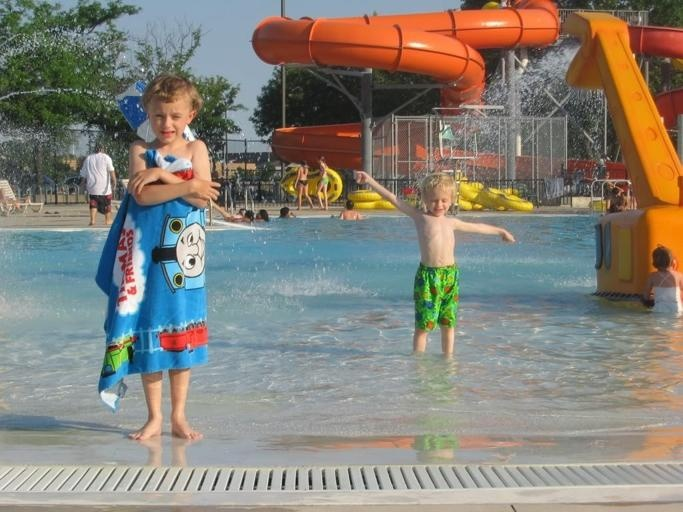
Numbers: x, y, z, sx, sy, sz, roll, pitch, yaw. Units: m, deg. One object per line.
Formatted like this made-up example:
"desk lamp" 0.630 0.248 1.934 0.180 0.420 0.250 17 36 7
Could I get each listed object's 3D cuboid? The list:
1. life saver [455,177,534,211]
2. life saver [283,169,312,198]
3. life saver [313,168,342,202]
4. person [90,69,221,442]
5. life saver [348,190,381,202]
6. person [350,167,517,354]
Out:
"life saver" 3.724 -1.345 22.497 1.738 0.553 0.956 13 1 14
"life saver" -1.426 -2.198 28.350 0.788 1.009 0.500 2 -13 -2
"life saver" -0.013 -2.045 27.609 1.018 0.976 0.358 4 7 32
"person" -1.073 0.000 5.577 0.732 2.104 0.398 -1 4 -11
"life saver" 0.691 -1.541 24.896 0.807 0.226 0.810 1 1 20
"person" 0.773 0.075 7.482 0.930 1.421 0.496 0 4 3
